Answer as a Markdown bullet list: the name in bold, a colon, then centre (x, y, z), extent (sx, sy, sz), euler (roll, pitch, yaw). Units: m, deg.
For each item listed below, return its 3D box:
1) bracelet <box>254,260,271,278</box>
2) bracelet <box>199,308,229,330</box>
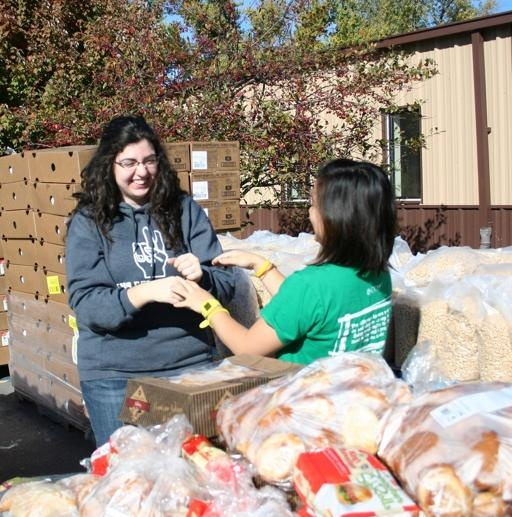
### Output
- **bracelet**: centre (0.037, 0.056, 2.174), extent (0.077, 0.030, 0.066), euler (-43, 1, -5)
- **bracelet**: centre (-0.174, 0.250, 1.752), extent (0.039, 0.119, 0.088), euler (43, 18, 2)
